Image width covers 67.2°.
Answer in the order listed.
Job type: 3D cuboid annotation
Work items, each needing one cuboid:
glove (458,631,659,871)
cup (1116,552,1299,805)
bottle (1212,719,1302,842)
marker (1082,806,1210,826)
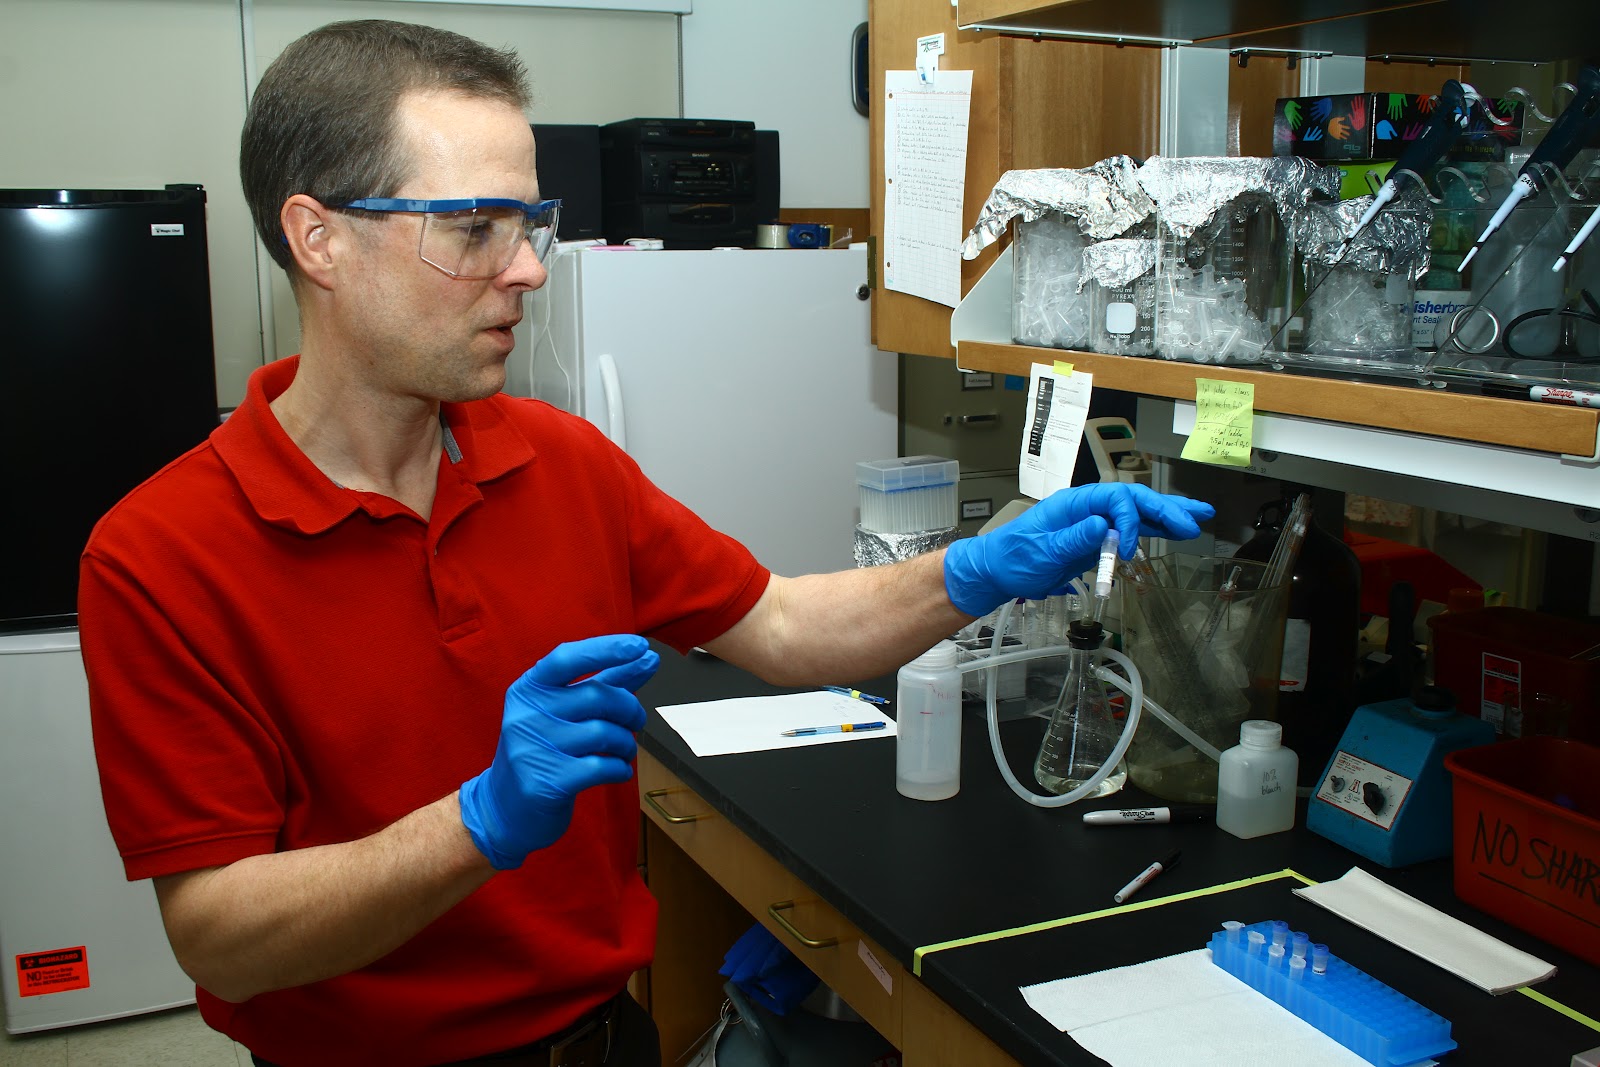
[{"bbox_3d":[-0.327,0.276,1.561,0.333,0.166,0.211,-47,-28,26],"label":"glove"},{"bbox_3d":[0.697,0.250,2.079,0.261,0.440,0.345,6,3,-37],"label":"cup"},{"bbox_3d":[0.770,0.391,2.025,0.110,0.175,0.090,-6,22,-3],"label":"bottle"},{"bbox_3d":[0.581,0.476,2.036,0.154,0.024,0.023,-1,5,-4],"label":"marker"}]
